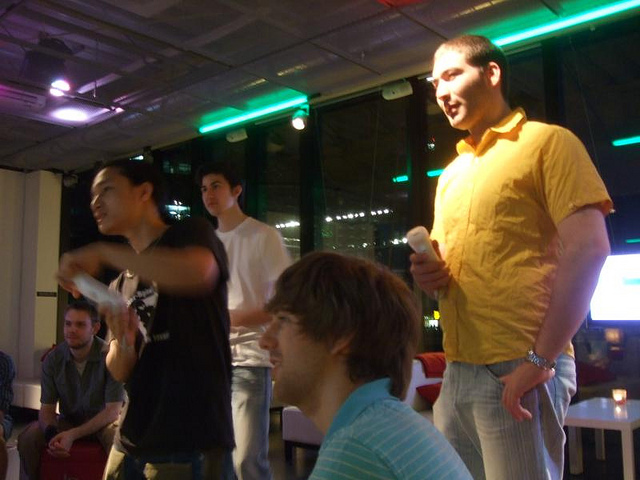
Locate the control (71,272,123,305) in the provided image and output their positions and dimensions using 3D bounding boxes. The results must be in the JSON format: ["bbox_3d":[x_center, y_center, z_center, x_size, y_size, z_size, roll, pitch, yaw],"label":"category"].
[{"bbox_3d":[-0.527,0.118,1.358,0.034,0.076,0.139,-5,-7,28],"label":"control"}]

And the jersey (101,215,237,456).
[{"bbox_3d":[-0.384,0.266,1.554,0.328,0.679,0.300,1,-6,-20],"label":"jersey"}]

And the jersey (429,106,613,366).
[{"bbox_3d":[0.590,-0.021,1.738,0.556,0.791,0.214,-5,-7,30],"label":"jersey"}]

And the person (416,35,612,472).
[{"bbox_3d":[0.580,0.023,1.724,0.549,1.364,0.258,-5,-7,29],"label":"person"}]
